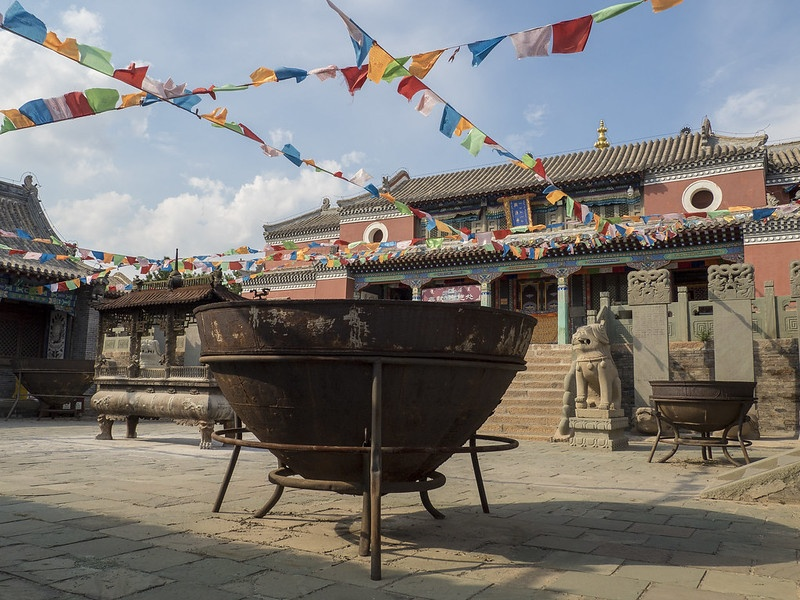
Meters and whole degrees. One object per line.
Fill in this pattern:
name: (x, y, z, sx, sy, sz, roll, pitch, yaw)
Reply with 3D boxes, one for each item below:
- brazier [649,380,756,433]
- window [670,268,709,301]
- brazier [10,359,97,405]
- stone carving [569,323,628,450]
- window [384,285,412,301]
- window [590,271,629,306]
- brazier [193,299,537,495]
brazier: (4.011, 1.464, 8.456, 1.359, 0.529, 1.185, 5, -12, 5)
window: (8.685, -0.461, 18.959, 1.074, 0.849, 0.717, -5, -12, 32)
brazier: (-8.036, 1.888, 15.381, 2.312, 0.908, 2.100, -2, -5, 9)
stone carving: (3.322, 1.434, 10.704, 0.942, 2.039, 1.025, 1, -4, -18)
window: (0.000, -0.298, 25.749, 1.211, 0.500, 1.029, 0, 7, 9)
window: (6.741, -0.352, 20.284, 1.234, 0.956, 0.604, -4, -14, 28)
brazier: (-0.298, 1.020, 5.585, 3.144, 1.226, 2.790, 7, -17, -16)
